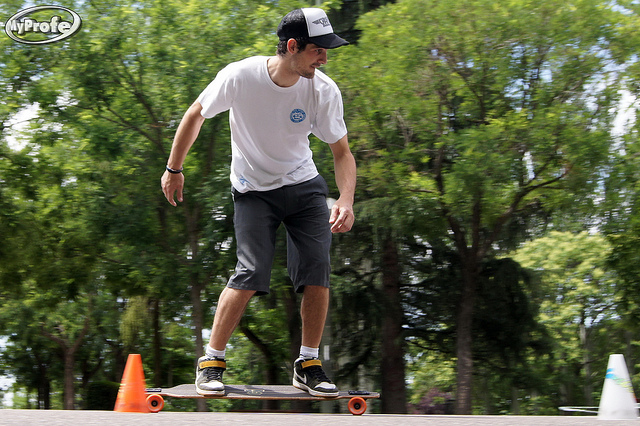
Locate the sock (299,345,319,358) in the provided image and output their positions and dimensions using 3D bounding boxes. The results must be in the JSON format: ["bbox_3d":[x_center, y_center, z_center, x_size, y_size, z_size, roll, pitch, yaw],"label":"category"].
[{"bbox_3d":[-0.197,2.655,20.070,0.393,0.181,0.245,2,3,4],"label":"sock"}]

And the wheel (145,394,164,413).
[{"bbox_3d":[-3.148,3.638,20.125,0.330,0.344,0.351,3,-13,1],"label":"wheel"}]

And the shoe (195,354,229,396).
[{"bbox_3d":[-2.045,3.075,19.945,0.560,0.789,0.298,4,-15,-3],"label":"shoe"}]
